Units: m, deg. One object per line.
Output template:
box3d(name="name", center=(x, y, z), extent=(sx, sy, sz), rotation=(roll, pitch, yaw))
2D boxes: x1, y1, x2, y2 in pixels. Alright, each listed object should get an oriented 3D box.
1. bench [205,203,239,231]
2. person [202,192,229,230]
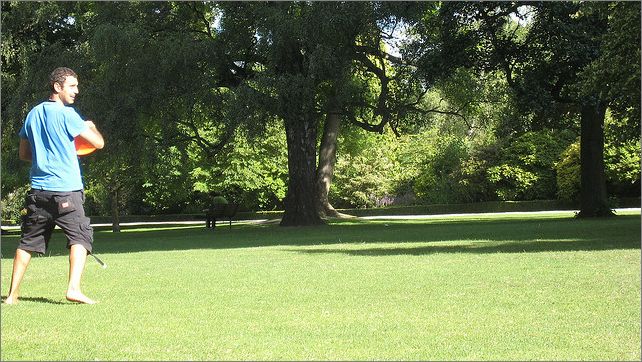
box3d(name="bench", center=(-4.996, 1.791, 33.073), extent=(1.880, 1.090, 0.724), rotation=(-2, 11, -39))
box3d(name="person", center=(-4.825, 1.580, 30.001), extent=(0.789, 1.144, 1.937), rotation=(3, 7, -41))
